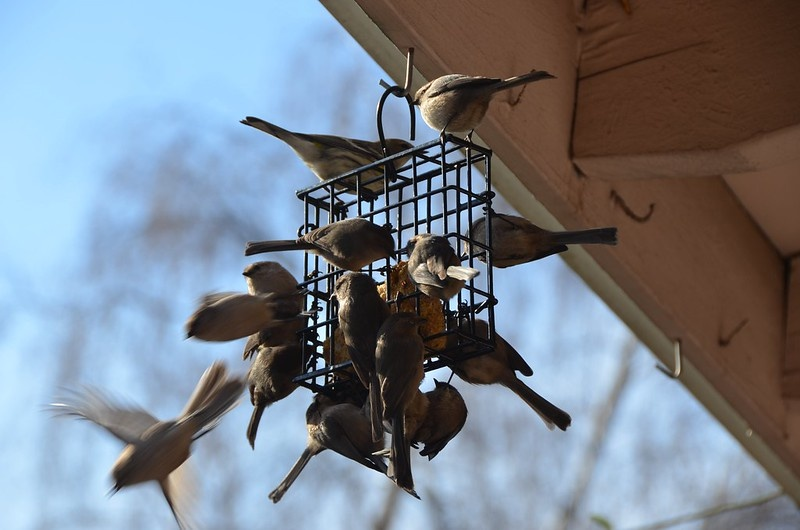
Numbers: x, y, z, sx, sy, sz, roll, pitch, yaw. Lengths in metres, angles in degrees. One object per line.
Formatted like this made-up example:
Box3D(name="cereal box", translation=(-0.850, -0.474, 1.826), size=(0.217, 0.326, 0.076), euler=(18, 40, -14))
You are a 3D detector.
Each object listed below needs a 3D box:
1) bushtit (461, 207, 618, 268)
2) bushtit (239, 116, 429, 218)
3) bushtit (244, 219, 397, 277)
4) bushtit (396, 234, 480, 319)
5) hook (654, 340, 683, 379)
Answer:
Box3D(name="bushtit", translation=(0.499, -0.097, 6.785), size=(0.710, 0.236, 0.292), euler=(-2, -11, -1))
Box3D(name="bushtit", translation=(-0.276, -0.459, 7.381), size=(0.814, 0.347, 0.231), euler=(18, -26, -9))
Box3D(name="bushtit", translation=(-0.274, -0.073, 6.589), size=(0.606, 0.183, 0.246), euler=(3, -66, 12))
Box3D(name="bushtit", translation=(0.159, 0.005, 6.341), size=(0.213, 0.302, 0.400), euler=(-10, 0, -24))
Box3D(name="hook", translation=(1.100, 0.376, 7.023), size=(0.054, 0.110, 0.167), euler=(9, -37, -28))
